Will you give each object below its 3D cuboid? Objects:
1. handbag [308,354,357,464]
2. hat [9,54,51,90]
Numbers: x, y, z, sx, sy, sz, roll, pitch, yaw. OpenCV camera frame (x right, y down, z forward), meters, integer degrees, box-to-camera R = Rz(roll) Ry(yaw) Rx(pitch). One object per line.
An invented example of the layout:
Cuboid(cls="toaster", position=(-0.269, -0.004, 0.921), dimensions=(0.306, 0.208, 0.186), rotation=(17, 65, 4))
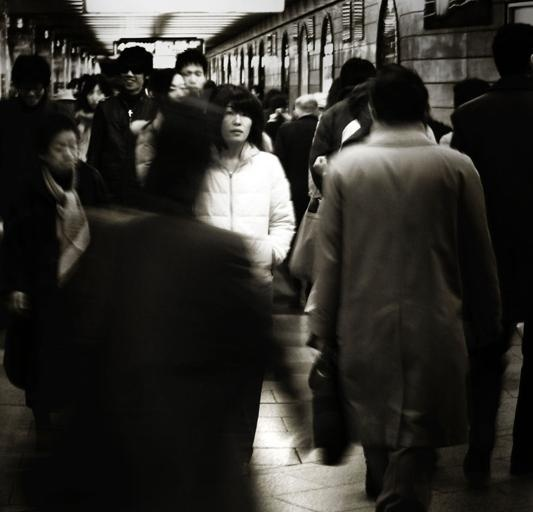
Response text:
Cuboid(cls="handbag", position=(0.233, 0.539, 2.510), dimensions=(0.159, 0.359, 0.285), rotation=(-1, 9, 3))
Cuboid(cls="hat", position=(-1.673, -1.289, 4.909), dimensions=(0.213, 0.263, 0.254), rotation=(0, 12, -5))
